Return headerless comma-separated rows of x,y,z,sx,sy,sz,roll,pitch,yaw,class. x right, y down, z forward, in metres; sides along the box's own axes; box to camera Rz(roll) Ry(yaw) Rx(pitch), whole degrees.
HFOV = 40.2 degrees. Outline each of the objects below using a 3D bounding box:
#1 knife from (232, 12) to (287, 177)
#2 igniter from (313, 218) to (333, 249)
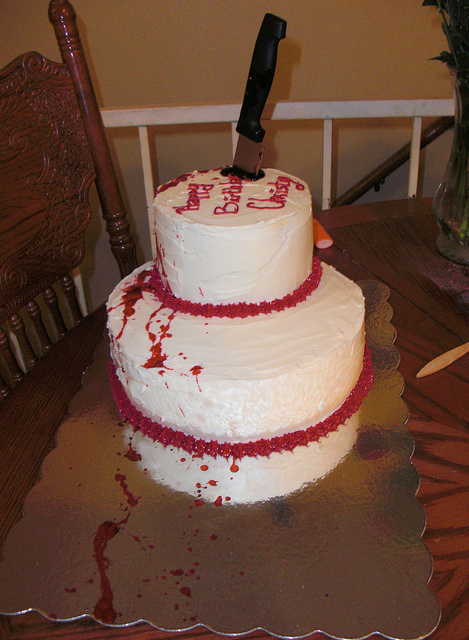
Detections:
0.066,-0.576,1.665,0.107,0.399,0.221,-9,37,-15,knife
0.307,-0.297,2.215,0.074,0.075,0.095,6,34,5,igniter
